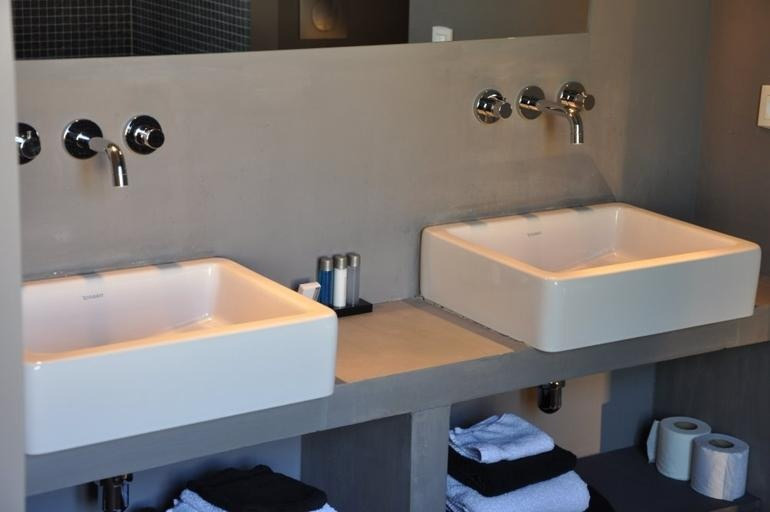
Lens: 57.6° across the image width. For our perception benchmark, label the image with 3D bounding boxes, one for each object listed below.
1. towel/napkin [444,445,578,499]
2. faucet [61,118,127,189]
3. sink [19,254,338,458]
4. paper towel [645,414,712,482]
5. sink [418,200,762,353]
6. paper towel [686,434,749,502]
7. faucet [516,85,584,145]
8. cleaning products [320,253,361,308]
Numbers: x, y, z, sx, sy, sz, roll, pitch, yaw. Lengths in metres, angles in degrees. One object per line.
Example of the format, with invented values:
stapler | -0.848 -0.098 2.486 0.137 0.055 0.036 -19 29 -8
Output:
towel/napkin | 0.387 0.627 2.103 0.402 0.108 0.174 -7 16 -16
faucet | -0.690 -0.247 1.692 0.198 0.156 0.090 12 21 43
sink | -0.504 0.194 1.676 0.660 0.247 0.484 -9 16 -23
paper towel | 1.113 0.714 2.623 0.184 0.178 0.227 8 9 33
sink | 0.603 0.046 2.122 0.875 0.287 0.509 -9 16 -23
paper towel | 1.160 0.743 2.534 0.211 0.207 0.205 3 15 7
faucet | 0.549 -0.457 2.226 0.142 0.140 0.253 -21 36 -33
cleaning products | -0.133 0.073 2.015 0.140 0.178 0.053 -5 10 -30
